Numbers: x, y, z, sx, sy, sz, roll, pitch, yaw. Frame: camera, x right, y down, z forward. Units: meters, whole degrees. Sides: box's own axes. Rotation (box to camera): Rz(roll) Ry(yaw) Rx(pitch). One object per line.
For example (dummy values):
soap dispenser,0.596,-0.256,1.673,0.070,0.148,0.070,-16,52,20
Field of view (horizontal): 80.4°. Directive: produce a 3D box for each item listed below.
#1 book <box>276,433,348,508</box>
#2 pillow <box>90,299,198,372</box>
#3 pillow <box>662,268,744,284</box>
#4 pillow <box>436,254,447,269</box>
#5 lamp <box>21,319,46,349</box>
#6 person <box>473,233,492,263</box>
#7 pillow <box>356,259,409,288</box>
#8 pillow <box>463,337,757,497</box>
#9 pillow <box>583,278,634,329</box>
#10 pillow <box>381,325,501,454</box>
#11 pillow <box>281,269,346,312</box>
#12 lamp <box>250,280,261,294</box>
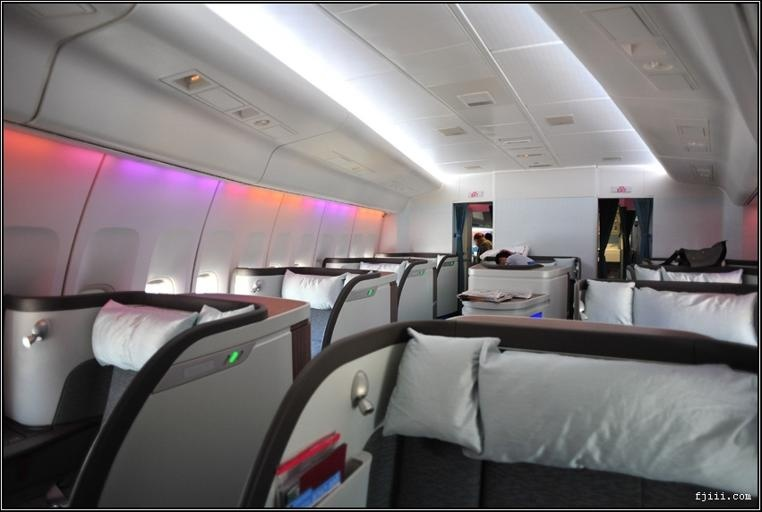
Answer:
book,-0.301,0.978,2.050,0.302,0.205,0.094,-17,10,-39
pillow,-1.717,0.589,3.239,0.912,0.457,0.302,5,-16,28
pillow,3.416,0.221,4.815,0.464,0.140,0.466,3,-2,-36
pillow,1.171,0.106,8.904,0.375,0.253,0.487,2,2,3
lamp,-2.469,0.560,3.238,0.147,0.209,0.078,42,7,32
person,2.395,-0.148,10.518,0.354,0.651,1.841,-4,11,12
pillow,0.075,0.181,7.500,0.562,0.460,0.171,17,-13,-24
pillow,1.080,0.755,2.124,1.183,0.495,0.278,-2,12,18
pillow,2.145,0.432,4.262,0.416,0.390,0.162,5,7,38
pillow,0.296,0.666,2.282,0.605,0.537,0.172,4,-18,14
pillow,-0.824,0.435,5.377,0.894,0.434,0.271,3,-18,29
lamp,-1.569,0.394,5.689,0.118,0.155,0.059,15,-2,9
